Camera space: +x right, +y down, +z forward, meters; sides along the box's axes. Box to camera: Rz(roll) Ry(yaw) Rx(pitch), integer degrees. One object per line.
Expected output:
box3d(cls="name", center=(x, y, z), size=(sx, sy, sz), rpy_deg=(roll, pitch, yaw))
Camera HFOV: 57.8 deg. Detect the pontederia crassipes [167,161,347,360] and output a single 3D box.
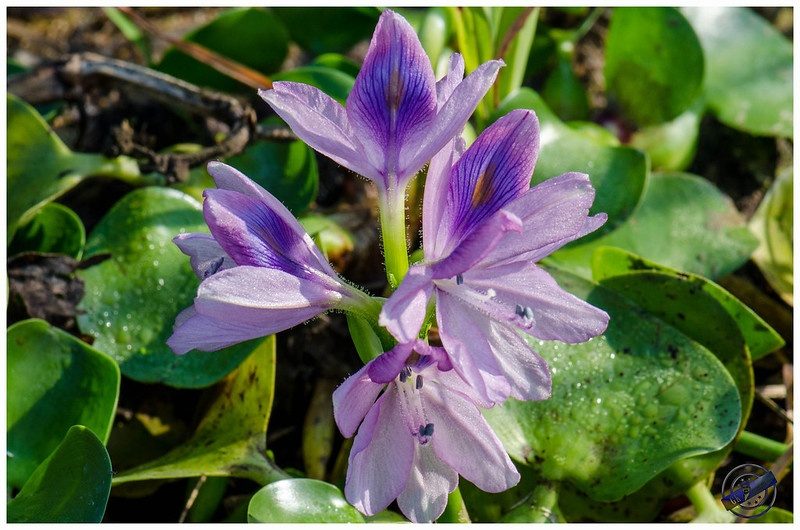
box3d(cls="pontederia crassipes", center=(-0.238, -0.012, 1.193), size=(0.295, 0.234, 0.214), rpy_deg=(-5, 47, -3))
